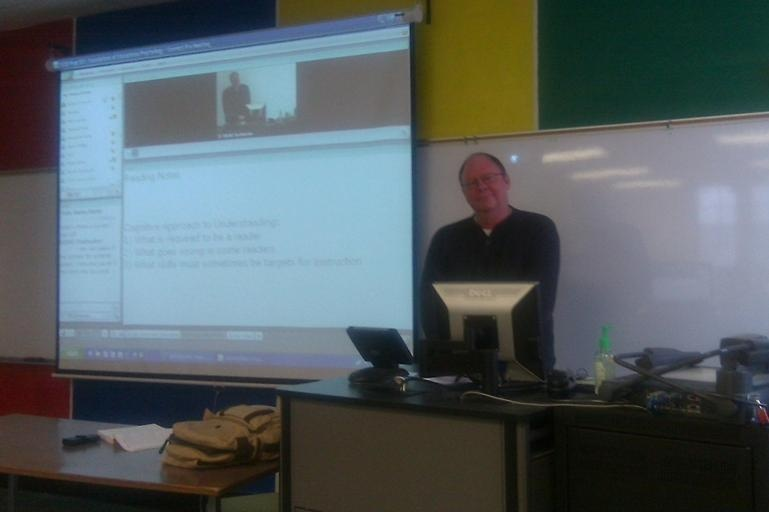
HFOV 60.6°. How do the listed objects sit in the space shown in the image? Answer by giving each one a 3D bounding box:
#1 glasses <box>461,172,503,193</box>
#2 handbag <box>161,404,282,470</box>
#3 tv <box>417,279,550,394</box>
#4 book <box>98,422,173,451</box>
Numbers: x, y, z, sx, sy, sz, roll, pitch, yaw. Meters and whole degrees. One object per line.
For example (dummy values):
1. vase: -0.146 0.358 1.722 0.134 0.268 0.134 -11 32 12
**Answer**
1. glasses: 0.602 -0.463 4.096 0.136 0.037 0.136 -16 -10 21
2. handbag: -0.768 0.862 3.281 0.426 0.159 0.317 2 -3 -33
3. tv: 0.521 0.337 3.232 0.817 0.580 0.464 -1 0 25
4. book: -1.316 0.977 3.533 0.192 0.035 0.211 -1 5 -37
